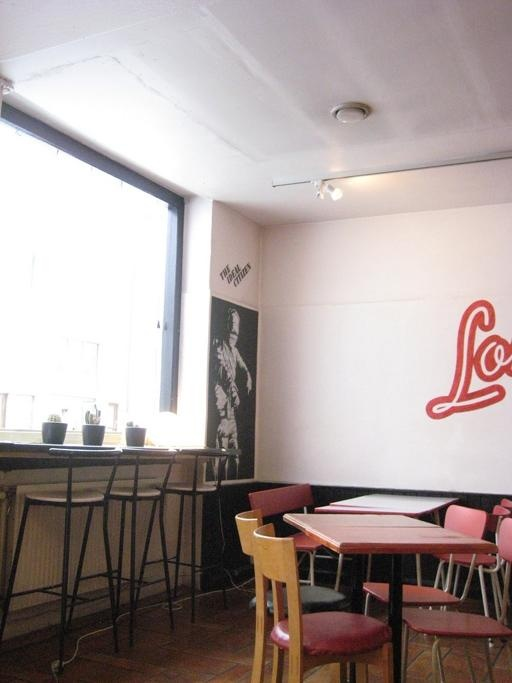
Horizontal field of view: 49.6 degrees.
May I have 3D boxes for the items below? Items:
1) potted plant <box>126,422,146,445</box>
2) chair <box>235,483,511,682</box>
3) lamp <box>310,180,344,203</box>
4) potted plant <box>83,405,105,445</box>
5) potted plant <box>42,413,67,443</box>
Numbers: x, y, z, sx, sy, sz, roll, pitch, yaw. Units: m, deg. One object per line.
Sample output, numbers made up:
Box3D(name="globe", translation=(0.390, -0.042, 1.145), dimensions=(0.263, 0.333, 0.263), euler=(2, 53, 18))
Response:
Box3D(name="potted plant", translation=(-0.780, 0.612, 3.676), dimensions=(0.122, 0.137, 0.133), euler=(0, -13, -1))
Box3D(name="chair", translation=(0.430, 0.898, 1.987), dimensions=(0.568, 0.470, 0.947), euler=(3, -12, -7))
Box3D(name="lamp", translation=(0.575, -1.233, 4.515), dimensions=(0.109, 0.128, 0.210), euler=(-16, -13, 35))
Box3D(name="potted plant", translation=(-0.949, 0.489, 3.217), dimensions=(0.119, 0.241, 0.267), euler=(5, -12, -17))
Box3D(name="potted plant", translation=(-1.098, 0.470, 3.018), dimensions=(0.141, 0.194, 0.147), euler=(0, -13, 1))
